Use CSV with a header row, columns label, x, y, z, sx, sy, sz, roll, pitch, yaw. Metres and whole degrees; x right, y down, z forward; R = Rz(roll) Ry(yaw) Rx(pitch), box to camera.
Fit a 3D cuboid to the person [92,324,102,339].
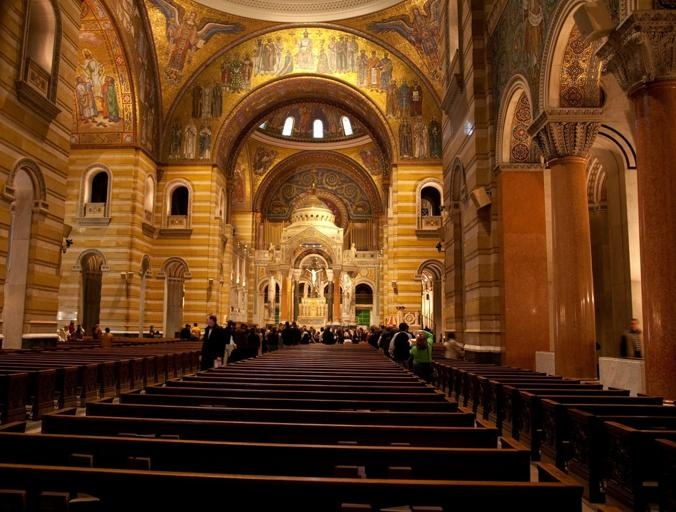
label,x,y,z,sx,sy,sz,roll,pitch,yaw
person,-8.972,2.778,21.753,0.250,0.518,0.952,-1,-42,-18
